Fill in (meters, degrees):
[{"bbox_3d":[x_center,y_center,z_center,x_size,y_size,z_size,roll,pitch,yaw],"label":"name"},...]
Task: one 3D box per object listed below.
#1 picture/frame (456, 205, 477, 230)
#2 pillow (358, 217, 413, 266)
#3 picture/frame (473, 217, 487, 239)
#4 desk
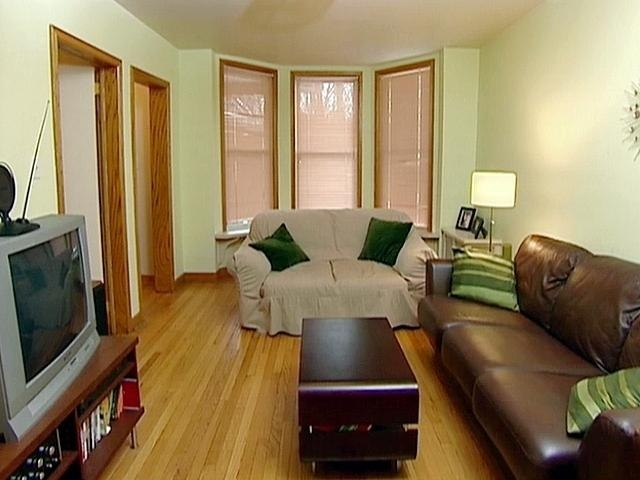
[{"bbox_3d":[1.694,-0.251,5.510,0.034,0.288,0.237,15,4,-23],"label":"picture/frame"},{"bbox_3d":[0.677,0.132,4.801,0.161,0.634,0.596,33,-28,-31],"label":"pillow"},{"bbox_3d":[1.738,-0.128,5.225,0.109,0.225,0.213,-2,4,0],"label":"picture/frame"},{"bbox_3d":[0.318,1.115,3.198,0.687,0.615,1.231,-4,-3,13],"label":"desk"}]
